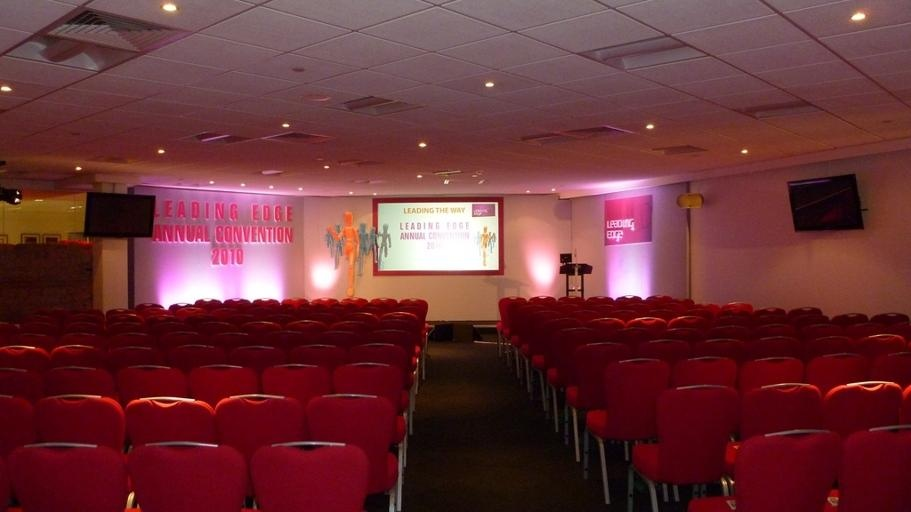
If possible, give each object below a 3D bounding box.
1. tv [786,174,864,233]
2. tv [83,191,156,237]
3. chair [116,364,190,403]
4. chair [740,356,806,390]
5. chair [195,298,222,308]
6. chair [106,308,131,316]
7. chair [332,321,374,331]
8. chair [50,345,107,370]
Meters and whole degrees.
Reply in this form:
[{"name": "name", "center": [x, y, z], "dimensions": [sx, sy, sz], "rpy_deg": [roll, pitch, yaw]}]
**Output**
[{"name": "tv", "center": [8.617, -1.254, 13.825], "dimensions": [1.821, 1.305, 0.188], "rpy_deg": [-9, 2, -9]}, {"name": "tv", "center": [-8.729, -1.020, 15.400], "dimensions": [2.150, 1.252, 0.213], "rpy_deg": [3, 1, 11]}, {"name": "chair", "center": [-4.024, 1.673, 7.863], "dimensions": [0.652, 0.677, 0.619], "rpy_deg": [0, -3, -21]}, {"name": "chair", "center": [4.104, 1.516, 7.633], "dimensions": [0.495, 0.560, 0.599], "rpy_deg": [4, -4, 6]}, {"name": "chair", "center": [-6.640, 1.287, 15.776], "dimensions": [0.546, 0.174, 0.401], "rpy_deg": [-1, 1, -2]}, {"name": "chair", "center": [-7.518, 1.264, 13.042], "dimensions": [0.381, 0.211, 0.345], "rpy_deg": [0, -2, -10]}, {"name": "chair", "center": [-1.871, 1.266, 10.636], "dimensions": [0.701, 0.133, 0.183], "rpy_deg": [1, 7, -8]}, {"name": "chair", "center": [-5.501, 1.467, 8.537], "dimensions": [0.514, 0.402, 0.439], "rpy_deg": [2, -12, -16]}]
